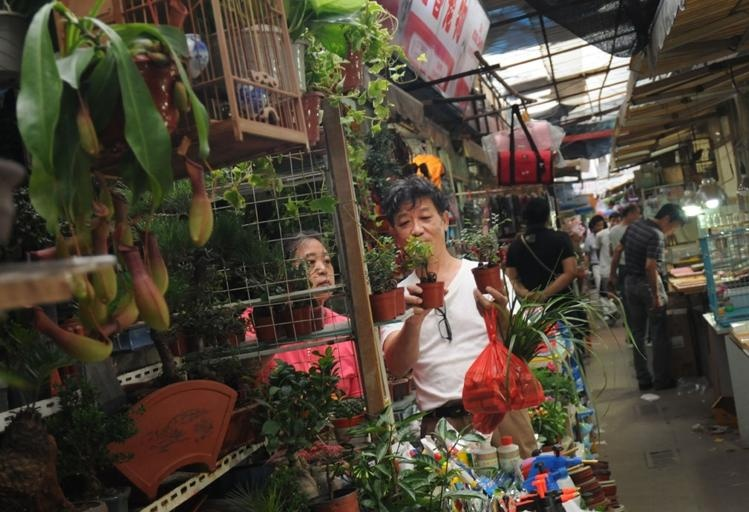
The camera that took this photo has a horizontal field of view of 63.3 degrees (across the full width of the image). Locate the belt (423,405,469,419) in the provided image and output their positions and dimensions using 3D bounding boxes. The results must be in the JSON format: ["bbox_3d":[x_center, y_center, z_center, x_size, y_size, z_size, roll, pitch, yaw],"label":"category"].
[{"bbox_3d":[0.419,0.887,3.451,0.257,0.065,0.202,-8,-11,10],"label":"belt"}]
